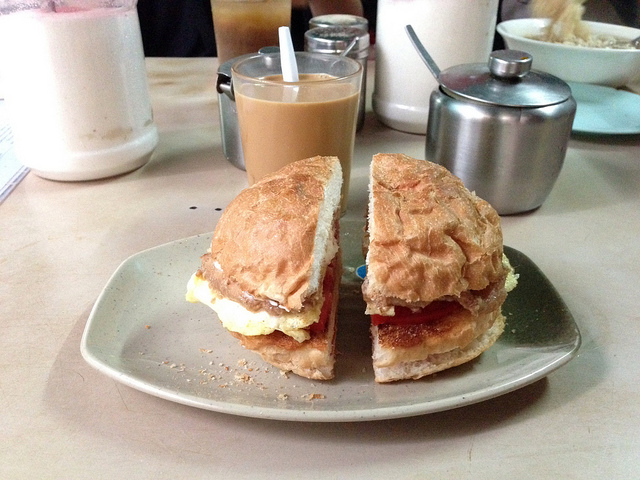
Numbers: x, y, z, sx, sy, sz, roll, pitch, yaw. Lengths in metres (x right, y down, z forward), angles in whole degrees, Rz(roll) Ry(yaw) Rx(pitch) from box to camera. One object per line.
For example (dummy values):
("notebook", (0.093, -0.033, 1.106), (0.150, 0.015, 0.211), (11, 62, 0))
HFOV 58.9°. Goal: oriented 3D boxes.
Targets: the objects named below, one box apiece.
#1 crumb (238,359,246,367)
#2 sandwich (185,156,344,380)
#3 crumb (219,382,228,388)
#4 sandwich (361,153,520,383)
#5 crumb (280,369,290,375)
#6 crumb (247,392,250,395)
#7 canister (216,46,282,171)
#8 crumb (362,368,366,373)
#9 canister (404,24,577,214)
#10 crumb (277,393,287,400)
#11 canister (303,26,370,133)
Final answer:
("crumb", (-0.195, 0.308, 1.433), (0.013, 0.004, 0.012), (-11, 41, -15))
("sandwich", (-0.145, -0.015, 1.602), (0.432, 0.249, 0.730), (1, 42, 7))
("crumb", (-0.229, 0.350, 1.370), (0.008, 0.004, 0.011), (11, 32, 17))
("sandwich", (0.316, -0.028, 1.626), (0.472, 0.257, 0.767), (-5, 39, -2))
("crumb", (-0.088, 0.328, 1.409), (0.015, 0.004, 0.014), (2, 39, 6))
("crumb", (-0.170, 0.365, 1.350), (0.005, 0.002, 0.007), (-8, 35, -13))
("canister", (-0.292, -0.473, 2.022), (0.221, 0.488, 0.304), (-15, 29, -31))
("crumb", (0.111, 0.328, 1.426), (0.007, 0.003, 0.011), (-1, 18, 2))
("canister", (0.548, -0.439, 1.947), (0.534, 0.502, 0.551), (4, 20, 19))
("crumb", (-0.089, 0.369, 1.337), (0.025, 0.008, 0.017), (16, 37, 20))
("canister", (0.110, -0.660, 2.340), (0.268, 0.428, 0.261), (1, 24, 0))
